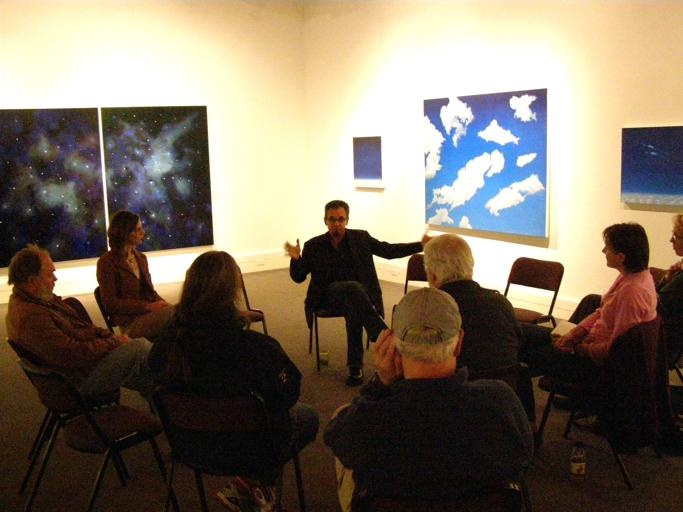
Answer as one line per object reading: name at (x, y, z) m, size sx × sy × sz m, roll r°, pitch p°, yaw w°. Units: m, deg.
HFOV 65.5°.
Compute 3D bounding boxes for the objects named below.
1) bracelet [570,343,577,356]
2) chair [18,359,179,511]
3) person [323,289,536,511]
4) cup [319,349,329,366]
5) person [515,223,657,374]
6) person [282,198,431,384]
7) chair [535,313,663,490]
bracelet at (1.482, 0.611, 3.405) m, size 0.014 × 0.053 × 0.038 m, roll 19°, pitch -7°, yaw -14°
chair at (-1.432, 1.080, 3.152) m, size 0.764 × 1.092 × 0.665 m, roll -9°, pitch 15°, yaw -41°
person at (0.304, 0.682, 2.025) m, size 0.780 × 1.082 × 0.493 m, roll 5°, pitch 9°, yaw 22°
cup at (-0.172, 0.943, 4.921) m, size 0.079 × 0.119 × 0.115 m, roll 0°, pitch -2°, yaw 0°
person at (1.564, 0.367, 3.557) m, size 1.044 × 1.155 × 0.552 m, roll 4°, pitch 12°, yaw 35°
person at (0.138, 0.264, 4.731) m, size 1.164 × 1.576 × 1.208 m, roll -3°, pitch -6°, yaw 45°
chair at (1.629, 0.849, 3.259) m, size 0.636 × 0.970 × 0.339 m, roll 6°, pitch 10°, yaw 26°
